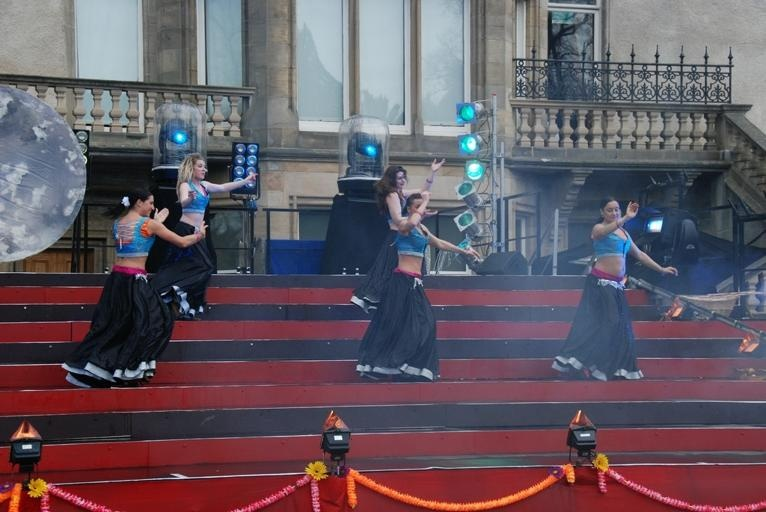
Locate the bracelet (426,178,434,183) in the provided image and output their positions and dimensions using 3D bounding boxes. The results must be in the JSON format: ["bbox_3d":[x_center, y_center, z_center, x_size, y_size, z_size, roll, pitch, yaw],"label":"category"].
[{"bbox_3d":[0.711,-1.207,27.036,0.103,0.049,0.101,2,-3,-2],"label":"bracelet"}]

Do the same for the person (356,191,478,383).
[{"bbox_3d":[0.263,0.448,25.799,1.190,2.721,1.110,3,13,-1],"label":"person"}]

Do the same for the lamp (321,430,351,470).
[{"bbox_3d":[-0.666,2.650,23.615,0.368,0.685,0.518,3,12,-2],"label":"lamp"}]

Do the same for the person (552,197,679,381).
[{"bbox_3d":[3.327,0.501,26.102,1.312,2.704,1.189,6,13,11],"label":"person"}]

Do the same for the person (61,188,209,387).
[{"bbox_3d":[-3.714,0.490,25.307,1.195,2.830,1.349,7,13,18],"label":"person"}]

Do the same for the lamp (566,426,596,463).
[{"bbox_3d":[2.675,2.627,23.888,0.497,0.538,0.529,0,-8,-4],"label":"lamp"}]

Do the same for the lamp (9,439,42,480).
[{"bbox_3d":[-4.739,2.696,23.263,0.449,0.439,0.391,-2,-2,-10],"label":"lamp"}]

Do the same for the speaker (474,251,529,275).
[{"bbox_3d":[2.057,0.145,29.412,0.518,0.294,0.638,4,-11,-40],"label":"speaker"}]

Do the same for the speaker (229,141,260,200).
[{"bbox_3d":[-2.392,-1.735,30.182,0.524,0.733,0.455,-3,-10,10],"label":"speaker"}]
